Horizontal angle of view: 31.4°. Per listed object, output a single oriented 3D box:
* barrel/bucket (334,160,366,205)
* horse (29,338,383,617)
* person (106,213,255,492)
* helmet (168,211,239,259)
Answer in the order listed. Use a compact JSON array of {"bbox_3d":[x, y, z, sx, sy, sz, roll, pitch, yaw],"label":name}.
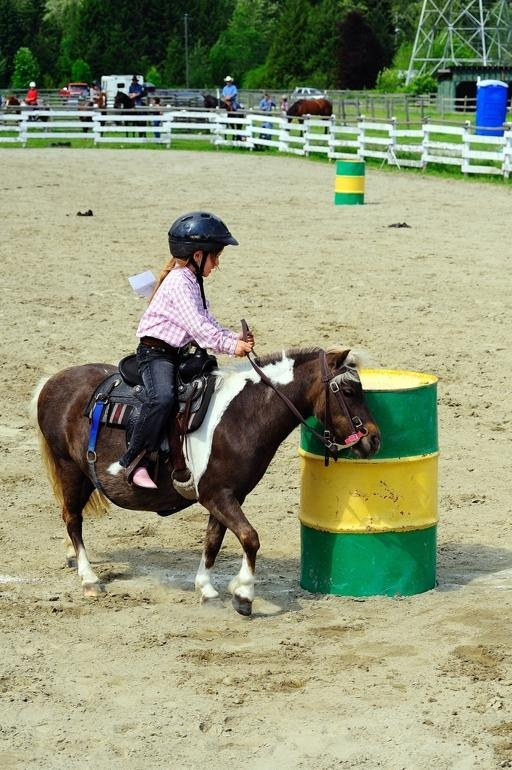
[{"bbox_3d":[1.795,-3.951,17.747,0.577,0.810,1.065,-2,7,5],"label":"barrel/bucket"},{"bbox_3d":[-0.362,0.477,4.976,2.146,1.340,0.663,4,4,27],"label":"horse"},{"bbox_3d":[-0.421,-0.155,4.671,0.807,1.468,0.456,-2,8,3],"label":"person"},{"bbox_3d":[-0.282,-0.771,4.638,0.354,0.150,0.231,-4,15,-5],"label":"helmet"}]
